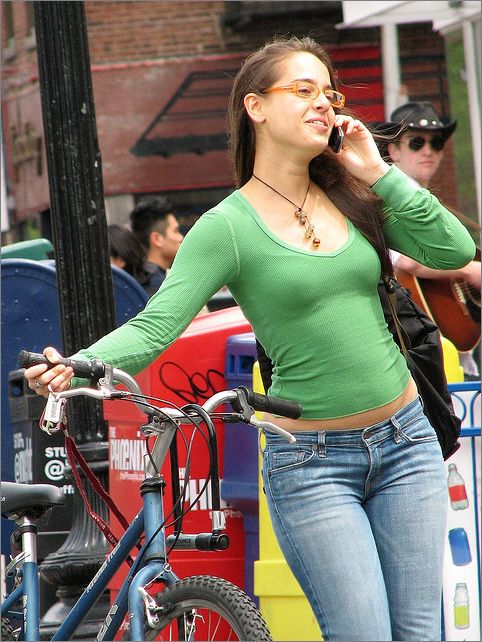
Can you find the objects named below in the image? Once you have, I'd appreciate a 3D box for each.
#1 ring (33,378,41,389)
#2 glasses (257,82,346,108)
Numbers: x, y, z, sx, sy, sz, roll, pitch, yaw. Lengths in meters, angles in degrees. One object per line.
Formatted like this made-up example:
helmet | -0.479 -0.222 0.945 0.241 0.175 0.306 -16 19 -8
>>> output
ring | -0.551 0.170 3.428 0.012 0.019 0.015 -48 8 -12
glasses | 0.175 -0.668 3.813 0.120 0.034 0.120 -12 -16 39
